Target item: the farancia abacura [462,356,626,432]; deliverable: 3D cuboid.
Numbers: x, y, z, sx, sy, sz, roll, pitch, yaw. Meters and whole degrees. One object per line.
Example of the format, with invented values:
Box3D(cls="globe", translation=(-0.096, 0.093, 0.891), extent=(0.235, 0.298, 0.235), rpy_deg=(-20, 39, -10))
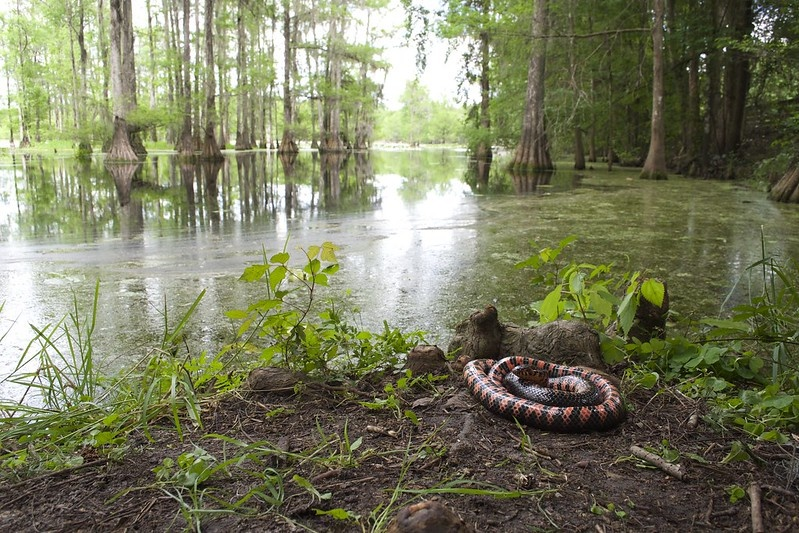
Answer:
Box3D(cls="farancia abacura", translation=(0.875, 0.868, 3.865), extent=(0.623, 0.117, 0.546), rpy_deg=(13, 18, 37))
